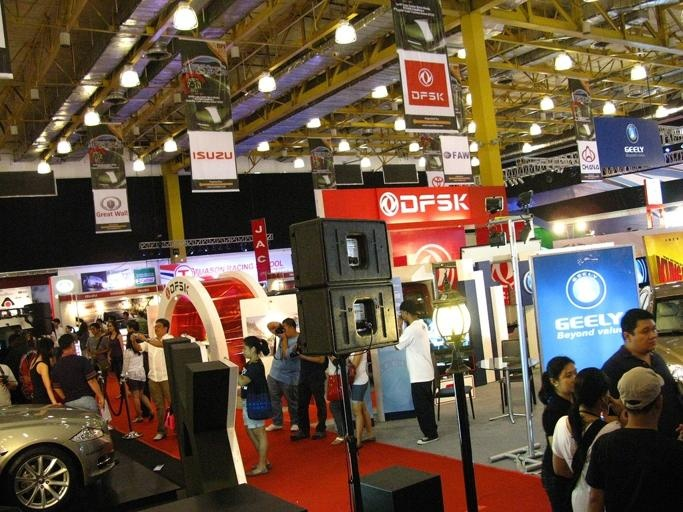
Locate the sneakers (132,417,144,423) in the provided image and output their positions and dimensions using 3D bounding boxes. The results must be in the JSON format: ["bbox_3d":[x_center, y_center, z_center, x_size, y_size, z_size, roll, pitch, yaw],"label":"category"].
[{"bbox_3d":[-3.441,2.762,9.123,0.105,0.096,0.219,3,-1,-28],"label":"sneakers"}]

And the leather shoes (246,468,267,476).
[{"bbox_3d":[-0.941,2.371,5.930,0.175,0.060,0.099,5,-7,-9],"label":"leather shoes"}]

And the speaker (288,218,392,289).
[{"bbox_3d":[-0.007,-0.026,3.587,0.705,0.515,0.419,-3,-2,-42],"label":"speaker"}]

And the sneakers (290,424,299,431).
[{"bbox_3d":[-0.670,2.421,7.550,0.101,0.080,0.170,2,7,-1],"label":"sneakers"}]

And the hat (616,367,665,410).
[{"bbox_3d":[1.296,0.576,2.348,0.140,0.101,0.197,-2,41,39],"label":"hat"}]

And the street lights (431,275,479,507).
[{"bbox_3d":[0.818,0.961,3.818,0.249,1.472,0.720,-4,-1,11],"label":"street lights"}]

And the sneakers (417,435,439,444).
[{"bbox_3d":[1.030,2.176,6.390,0.258,0.070,0.095,4,-8,-25],"label":"sneakers"}]
